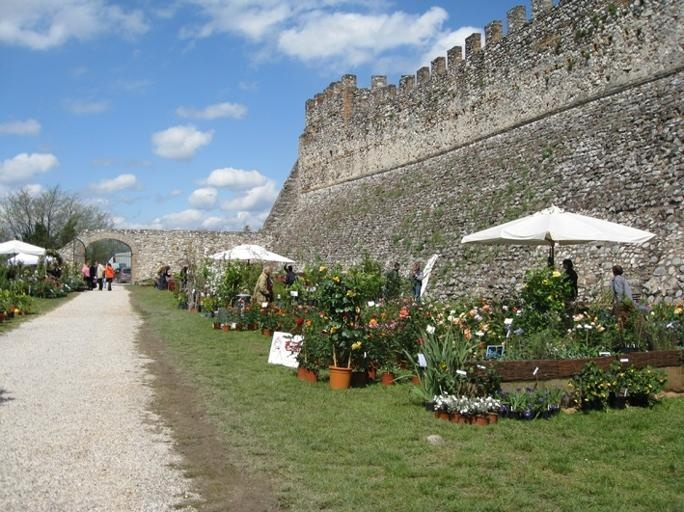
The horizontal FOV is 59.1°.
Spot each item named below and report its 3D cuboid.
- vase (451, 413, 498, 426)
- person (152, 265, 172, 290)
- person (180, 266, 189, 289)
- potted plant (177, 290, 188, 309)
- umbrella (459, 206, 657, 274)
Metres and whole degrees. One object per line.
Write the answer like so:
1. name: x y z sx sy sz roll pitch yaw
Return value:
1. vase: 1.806 2.243 8.312 0.638 0.136 0.126 2 7 9
2. person: -11.338 1.373 37.699 0.929 2.333 1.093 7 10 32
3. person: -6.398 0.948 24.228 0.222 0.964 2.476 -2 8 -17
4. potted plant: -5.880 1.609 22.007 0.528 0.566 0.509 -1 4 14
5. umbrella: 4.157 -0.430 12.065 2.547 1.168 2.875 -1 8 -14
